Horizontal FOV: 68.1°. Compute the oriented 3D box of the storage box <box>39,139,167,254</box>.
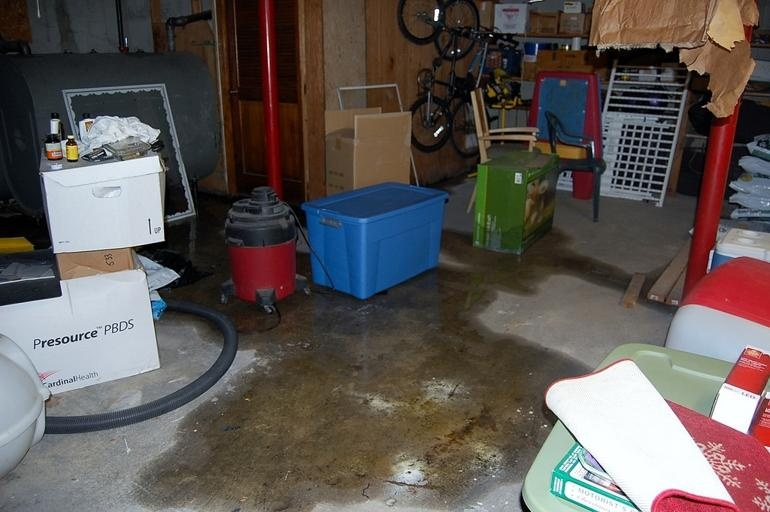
[{"bbox_3d":[-1.634,-0.266,3.668,0.825,0.494,0.834,-6,-2,-21],"label":"storage box"}]

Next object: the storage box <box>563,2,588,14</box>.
[{"bbox_3d":[2.620,-3.437,7.869,0.294,0.151,0.214,6,25,16],"label":"storage box"}]

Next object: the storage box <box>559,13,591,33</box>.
[{"bbox_3d":[2.594,-3.200,7.849,0.395,0.262,0.221,7,26,18],"label":"storage box"}]

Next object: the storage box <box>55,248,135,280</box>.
[{"bbox_3d":[-1.795,0.043,3.509,0.260,0.090,0.248,-9,28,-23],"label":"storage box"}]

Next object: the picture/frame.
[{"bbox_3d":[-2.229,-1.139,5.005,0.901,0.028,1.179,-12,52,-25],"label":"picture/frame"}]

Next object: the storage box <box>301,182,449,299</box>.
[{"bbox_3d":[-0.076,-0.125,4.590,0.716,0.696,1.120,23,34,38],"label":"storage box"}]
